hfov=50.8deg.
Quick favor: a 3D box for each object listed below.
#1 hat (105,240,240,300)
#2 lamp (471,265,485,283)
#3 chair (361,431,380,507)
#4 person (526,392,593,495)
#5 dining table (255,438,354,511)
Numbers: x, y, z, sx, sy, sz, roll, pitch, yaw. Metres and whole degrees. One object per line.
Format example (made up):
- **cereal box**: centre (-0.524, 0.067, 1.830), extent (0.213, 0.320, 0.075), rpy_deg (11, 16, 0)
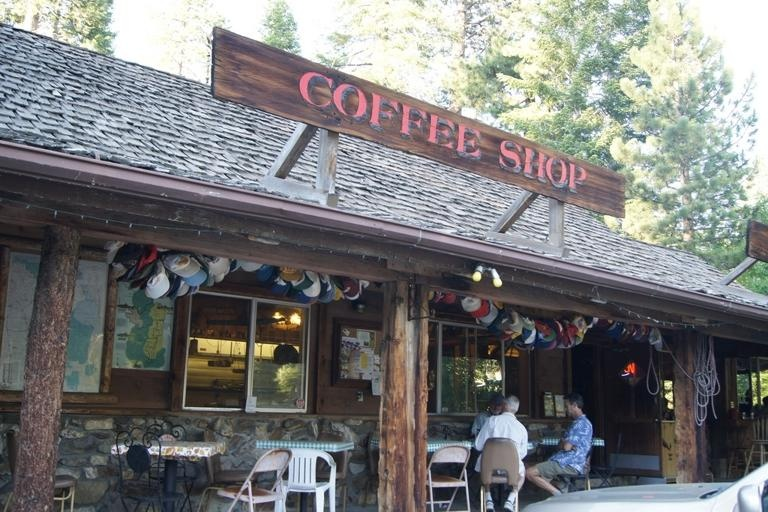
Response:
- **hat**: centre (-2.645, 0.118, 9.474), extent (1.112, 0.351, 0.801), rpy_deg (12, 20, 18)
- **lamp**: centre (1.169, 0.206, 10.081), extent (0.143, 0.134, 0.303), rpy_deg (-16, 7, 19)
- **chair**: centre (-0.187, 3.221, 12.356), extent (0.260, 1.093, 0.355), rpy_deg (5, -18, -16)
- **person**: centre (2.684, 2.830, 12.276), extent (0.908, 1.496, 1.158), rpy_deg (-3, -17, 11)
- **dining table**: centre (-1.060, 2.922, 11.197), extent (1.060, 0.944, 1.043), rpy_deg (-4, -10, 25)
